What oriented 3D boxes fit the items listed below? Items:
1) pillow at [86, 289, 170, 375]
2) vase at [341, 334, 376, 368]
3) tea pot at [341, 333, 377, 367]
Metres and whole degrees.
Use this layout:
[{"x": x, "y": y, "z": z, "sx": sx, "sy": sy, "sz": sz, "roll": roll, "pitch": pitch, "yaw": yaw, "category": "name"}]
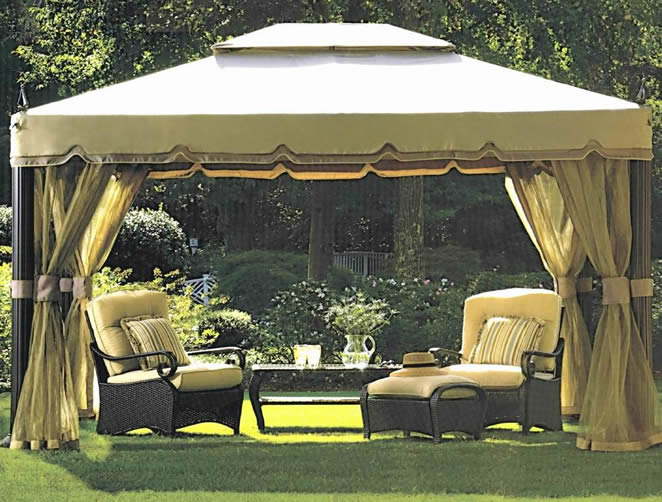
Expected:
[{"x": -2.219, "y": 0.852, "z": 18.643, "sx": 0.712, "sy": 0.882, "sz": 1.050, "roll": 0, "pitch": -3, "yaw": 20, "category": "pillow"}, {"x": 0.322, "y": 1.098, "z": 19.084, "sx": 0.404, "sy": 0.470, "sz": 0.327, "roll": -5, "pitch": -4, "yaw": -13, "category": "vase"}, {"x": 0.332, "y": 1.087, "z": 19.070, "sx": 0.380, "sy": 0.437, "sz": 0.295, "roll": -1, "pitch": -7, "yaw": -18, "category": "tea pot"}]
